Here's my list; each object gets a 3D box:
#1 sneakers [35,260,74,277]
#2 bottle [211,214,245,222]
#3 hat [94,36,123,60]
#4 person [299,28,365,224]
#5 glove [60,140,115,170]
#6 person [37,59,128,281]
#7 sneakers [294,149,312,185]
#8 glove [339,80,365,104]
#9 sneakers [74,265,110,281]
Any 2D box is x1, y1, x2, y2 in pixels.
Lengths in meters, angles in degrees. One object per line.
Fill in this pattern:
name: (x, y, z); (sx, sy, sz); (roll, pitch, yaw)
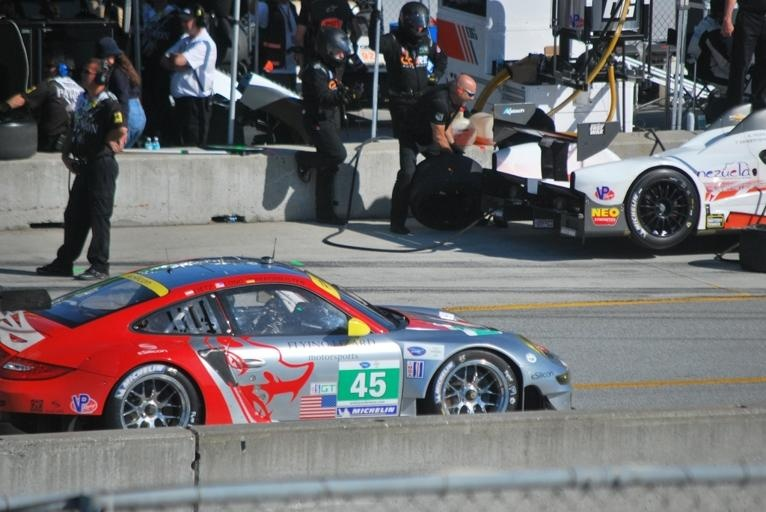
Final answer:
sneakers: (-4.615, 0.187, 25.548); (0.564, 0.235, 0.213); (8, -2, 1)
bottle: (-2.431, -0.631, 28.581); (0.536, 0.138, 0.115); (0, 2, -26)
hat: (-3.934, -3.045, 25.890); (0.312, 0.187, 0.333); (-3, 4, 43)
person: (-0.900, -2.118, 28.495); (0.851, 3.163, 1.075); (1, 2, -3)
glove: (-4.154, -1.466, 25.358); (0.659, 0.288, 0.450); (-19, 22, -4)
person: (-4.133, -1.253, 25.352); (0.657, 3.154, 1.135); (0, 2, -41)
sneakers: (-1.249, -1.457, 28.618); (0.231, 0.501, 0.218); (-10, 28, -11)
glove: (-0.483, -2.634, 28.479); (0.324, 0.357, 0.812); (1, 2, 4)
sneakers: (-4.077, 0.230, 25.385); (0.448, 0.188, 0.196); (2, 2, -16)
